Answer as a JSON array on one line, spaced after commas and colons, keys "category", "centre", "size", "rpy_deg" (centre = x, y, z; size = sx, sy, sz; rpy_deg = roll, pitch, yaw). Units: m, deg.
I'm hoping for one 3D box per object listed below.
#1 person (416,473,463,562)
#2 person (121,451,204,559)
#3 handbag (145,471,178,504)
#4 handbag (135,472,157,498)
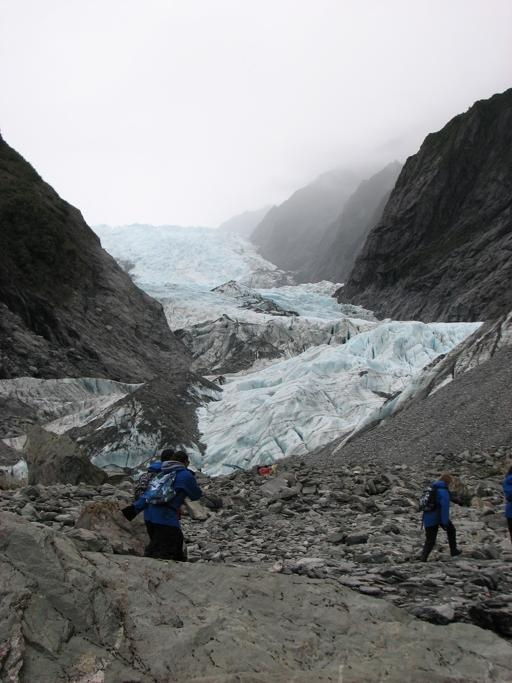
[{"category": "person", "centre": [2.065, 1.914, 5.754], "size": [0.412, 0.819, 1.082], "rpy_deg": [3, -5, 20]}, {"category": "person", "centre": [-0.852, 1.643, 4.954], "size": [0.475, 0.924, 0.424], "rpy_deg": [7, -5, -19]}, {"category": "handbag", "centre": [-0.876, 1.394, 4.949], "size": [0.258, 0.126, 0.334], "rpy_deg": [-1, 53, 35]}, {"category": "handbag", "centre": [-1.177, 1.488, 5.282], "size": [0.242, 0.284, 0.275], "rpy_deg": [-1, 34, -14]}]
